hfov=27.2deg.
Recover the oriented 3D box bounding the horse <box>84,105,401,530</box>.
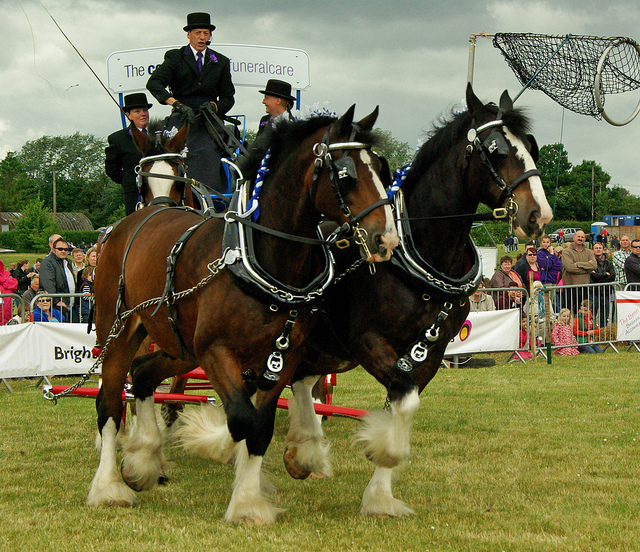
[{"bbox_3d":[-0.972,0.467,12.663,1.503,3.680,4.643,5,-4,-39],"label":"horse"}]

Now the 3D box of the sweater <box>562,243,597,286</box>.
[{"bbox_3d":[4.153,-0.174,21.171,0.568,0.606,0.574,0,9,5],"label":"sweater"}]

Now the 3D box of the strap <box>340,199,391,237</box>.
[{"bbox_3d":[0.337,-0.506,11.753,0.354,0.379,0.529,-6,11,-32],"label":"strap"}]

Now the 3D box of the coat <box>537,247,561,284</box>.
[{"bbox_3d":[3.717,-0.163,21.446,0.335,0.547,0.493,-2,1,31],"label":"coat"}]

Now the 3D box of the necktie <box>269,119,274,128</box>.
[{"bbox_3d":[-0.441,-1.390,12.069,0.041,0.072,0.048,-1,9,-2],"label":"necktie"}]

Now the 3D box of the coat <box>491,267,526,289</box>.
[{"bbox_3d":[2.826,0.094,20.408,0.491,0.387,0.272,3,-16,-35],"label":"coat"}]

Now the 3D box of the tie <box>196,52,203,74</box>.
[{"bbox_3d":[-1.395,-2.455,15.299,0.047,0.256,0.030,0,4,-6],"label":"tie"}]

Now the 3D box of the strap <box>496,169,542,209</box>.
[{"bbox_3d":[1.790,-0.834,12.101,0.087,0.321,0.344,40,2,9],"label":"strap"}]

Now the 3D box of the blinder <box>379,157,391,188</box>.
[{"bbox_3d":[0.589,-0.936,11.878,0.069,0.261,0.135,3,10,20],"label":"blinder"}]

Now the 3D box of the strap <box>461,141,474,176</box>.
[{"bbox_3d":[1.362,-1.106,12.285,0.051,0.199,0.155,13,-3,-9],"label":"strap"}]

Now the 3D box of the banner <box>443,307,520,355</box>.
[{"bbox_3d":[2.347,0.808,19.336,1.449,0.630,0.070,-2,8,-34],"label":"banner"}]

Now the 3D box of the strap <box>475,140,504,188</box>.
[{"bbox_3d":[1.579,-1.030,12.163,0.092,0.357,0.276,-32,-28,23],"label":"strap"}]

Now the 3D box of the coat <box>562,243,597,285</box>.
[{"bbox_3d":[4.120,-0.178,21.297,0.580,0.701,0.405,0,3,-28],"label":"coat"}]

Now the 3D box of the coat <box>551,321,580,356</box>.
[{"bbox_3d":[3.807,0.936,20.564,0.398,0.426,0.304,14,-31,-25],"label":"coat"}]

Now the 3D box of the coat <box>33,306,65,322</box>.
[{"bbox_3d":[-3.657,0.497,17.887,0.212,0.276,0.301,-8,-12,-38],"label":"coat"}]

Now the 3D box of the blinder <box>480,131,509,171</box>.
[{"bbox_3d":[1.608,-1.153,12.179,0.252,0.327,0.101,1,9,6],"label":"blinder"}]

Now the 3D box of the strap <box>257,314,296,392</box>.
[{"bbox_3d":[-0.396,0.714,11.954,0.233,0.775,0.134,25,-5,-14],"label":"strap"}]

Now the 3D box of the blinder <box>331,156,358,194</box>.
[{"bbox_3d":[0.217,-0.884,11.595,0.230,0.290,0.108,-13,-5,19],"label":"blinder"}]

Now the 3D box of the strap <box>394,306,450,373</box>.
[{"bbox_3d":[0.915,0.621,12.198,0.246,0.804,0.190,40,2,-9],"label":"strap"}]

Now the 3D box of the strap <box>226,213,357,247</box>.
[{"bbox_3d":[-0.280,-0.403,11.920,1.151,0.312,0.246,0,9,2],"label":"strap"}]

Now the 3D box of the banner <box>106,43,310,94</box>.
[{"bbox_3d":[-1.573,-2.946,18.684,2.904,0.699,0.047,-1,23,1],"label":"banner"}]
